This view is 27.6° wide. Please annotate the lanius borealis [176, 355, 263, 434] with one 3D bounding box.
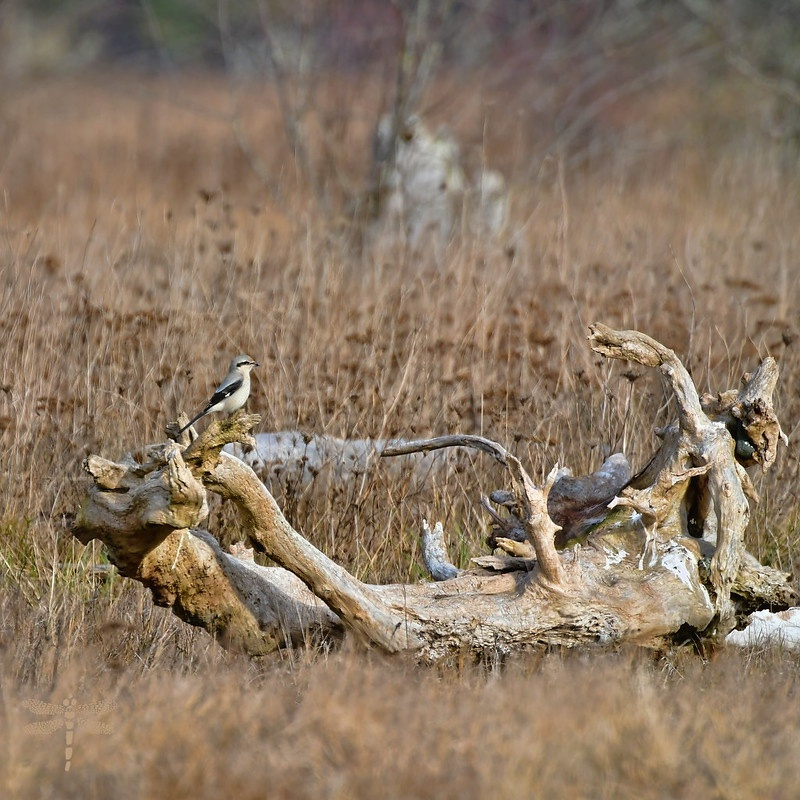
[{"bbox_3d":[-0.918,-0.019,8.457,0.429,0.133,0.348,-12,82,-18],"label":"lanius borealis"}]
